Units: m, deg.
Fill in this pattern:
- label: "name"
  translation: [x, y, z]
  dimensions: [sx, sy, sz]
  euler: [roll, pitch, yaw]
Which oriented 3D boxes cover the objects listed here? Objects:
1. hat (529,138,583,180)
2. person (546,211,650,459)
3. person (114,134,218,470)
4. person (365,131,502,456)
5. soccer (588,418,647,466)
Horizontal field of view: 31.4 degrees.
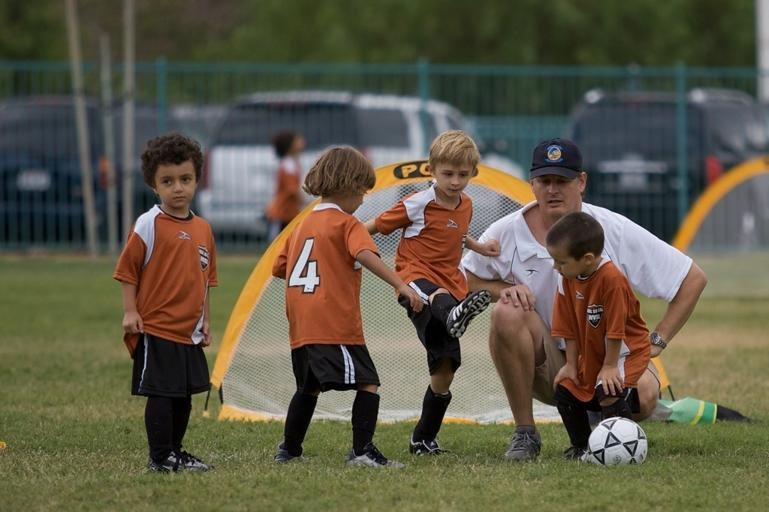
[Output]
- label: "hat"
  translation: [1.429, -0.809, 11.302]
  dimensions: [0.422, 0.334, 0.144]
  euler: [1, 2, 3]
- label: "person"
  translation: [1.761, 0.703, 11.245]
  dimensions: [0.851, 2.072, 0.789]
  euler: [-6, 7, -37]
- label: "person"
  translation: [-1.757, 0.373, 11.072]
  dimensions: [0.778, 2.703, 0.270]
  euler: [0, 2, -9]
- label: "person"
  translation: [0.455, 0.347, 11.646]
  dimensions: [0.983, 2.724, 1.123]
  euler: [0, 0, 3]
- label: "soccer"
  translation: [1.918, 1.480, 11.129]
  dimensions: [0.386, 0.403, 0.442]
  euler: [-4, 36, 35]
